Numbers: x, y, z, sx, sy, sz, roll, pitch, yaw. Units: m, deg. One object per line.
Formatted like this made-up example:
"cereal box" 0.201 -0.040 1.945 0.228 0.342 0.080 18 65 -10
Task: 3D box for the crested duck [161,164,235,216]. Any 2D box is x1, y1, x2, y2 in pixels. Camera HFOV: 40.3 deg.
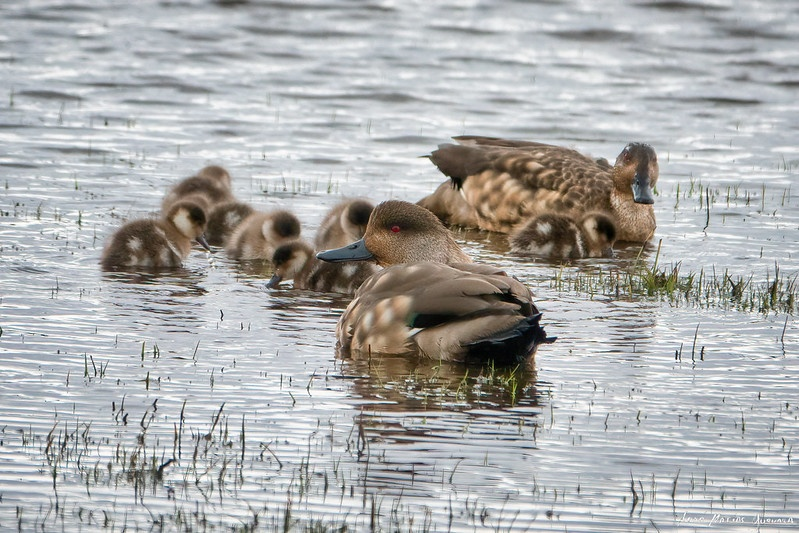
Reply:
"crested duck" -2.638 -1.091 15.037 0.655 0.595 1.164 21 20 23

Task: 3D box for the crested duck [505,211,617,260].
"crested duck" 2.092 -0.388 14.040 1.347 0.427 0.592 0 22 11
